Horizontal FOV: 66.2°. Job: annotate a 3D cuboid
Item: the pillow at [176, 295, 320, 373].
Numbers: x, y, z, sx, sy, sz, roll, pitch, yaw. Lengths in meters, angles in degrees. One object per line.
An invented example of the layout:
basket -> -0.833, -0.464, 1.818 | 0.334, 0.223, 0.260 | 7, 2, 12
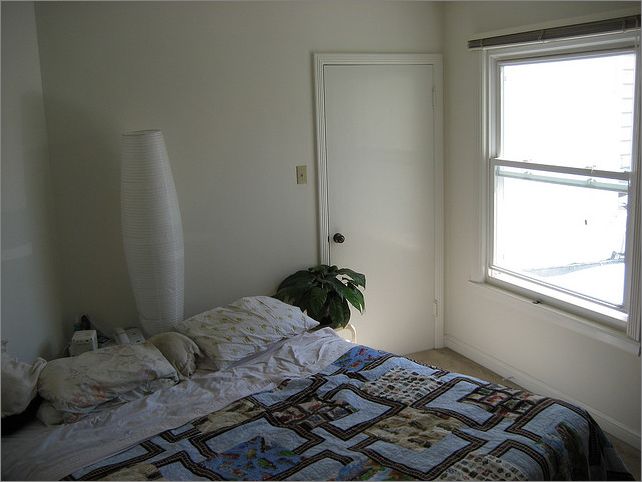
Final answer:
pillow -> -0.417, 0.504, 2.903 | 0.545, 0.128, 0.401 | -16, 28, -40

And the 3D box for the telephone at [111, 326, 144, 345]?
telephone -> -1.187, 0.587, 3.045 | 0.118, 0.061, 0.158 | -1, 23, -35

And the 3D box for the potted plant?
potted plant -> 0.023, 0.376, 3.437 | 0.520, 0.298, 0.509 | -6, 15, -26

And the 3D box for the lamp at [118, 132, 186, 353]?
lamp -> -0.987, -0.025, 2.900 | 0.296, 1.211, 0.202 | 5, 15, 17

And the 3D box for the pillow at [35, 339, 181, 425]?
pillow -> -1.038, 0.680, 2.405 | 0.404, 0.099, 0.344 | -9, 24, -36

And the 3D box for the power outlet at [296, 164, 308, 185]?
power outlet -> -0.140, -0.477, 3.555 | 0.092, 0.140, 0.018 | -6, 16, -22
